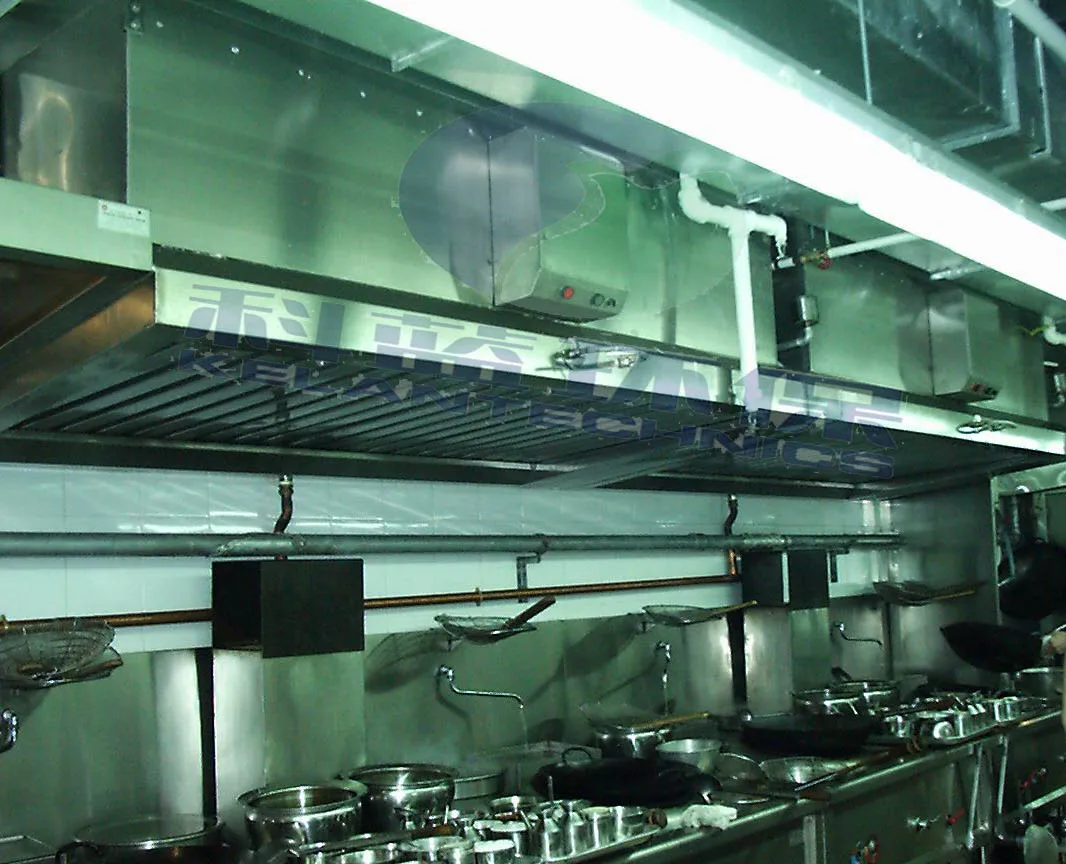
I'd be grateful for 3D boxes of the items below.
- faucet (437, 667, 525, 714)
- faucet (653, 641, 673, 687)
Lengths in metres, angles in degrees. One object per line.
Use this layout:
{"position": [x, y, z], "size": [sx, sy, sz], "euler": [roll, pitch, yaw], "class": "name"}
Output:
{"position": [-0.146, 0.767, 3.291], "size": [0.067, 0.158, 0.334], "euler": [-12, -14, 35], "class": "faucet"}
{"position": [0.460, 0.806, 3.836], "size": [0.049, 0.150, 0.092], "euler": [-7, -12, 13], "class": "faucet"}
